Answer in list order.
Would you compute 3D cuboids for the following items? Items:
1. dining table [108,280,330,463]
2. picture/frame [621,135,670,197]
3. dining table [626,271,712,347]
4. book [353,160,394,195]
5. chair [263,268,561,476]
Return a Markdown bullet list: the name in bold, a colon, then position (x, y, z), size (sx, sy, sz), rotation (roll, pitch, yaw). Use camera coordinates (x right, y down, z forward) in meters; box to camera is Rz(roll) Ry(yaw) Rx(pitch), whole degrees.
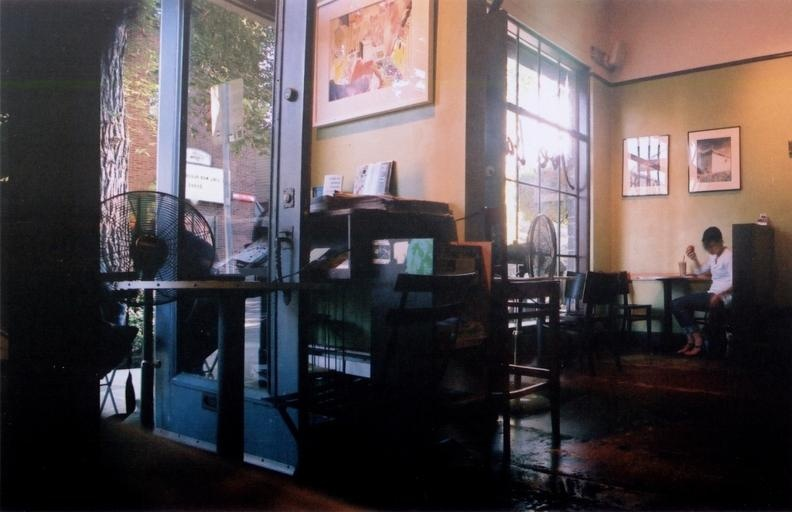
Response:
- **dining table**: position (-1.301, 0.713, 4.222), size (1.248, 1.165, 1.262), rotation (1, 1, 27)
- **picture/frame**: position (3.484, -1.240, 8.759), size (0.662, 0.818, 0.016), rotation (-1, 7, -2)
- **dining table**: position (3.499, 0.652, 8.093), size (0.991, 0.960, 0.994), rotation (0, -2, 23)
- **book**: position (-0.233, -0.683, 5.564), size (0.039, 0.298, 0.432), rotation (26, 23, 35)
- **chair**: position (0.157, 0.512, 4.458), size (1.593, 1.140, 1.444), rotation (-3, 4, -20)
